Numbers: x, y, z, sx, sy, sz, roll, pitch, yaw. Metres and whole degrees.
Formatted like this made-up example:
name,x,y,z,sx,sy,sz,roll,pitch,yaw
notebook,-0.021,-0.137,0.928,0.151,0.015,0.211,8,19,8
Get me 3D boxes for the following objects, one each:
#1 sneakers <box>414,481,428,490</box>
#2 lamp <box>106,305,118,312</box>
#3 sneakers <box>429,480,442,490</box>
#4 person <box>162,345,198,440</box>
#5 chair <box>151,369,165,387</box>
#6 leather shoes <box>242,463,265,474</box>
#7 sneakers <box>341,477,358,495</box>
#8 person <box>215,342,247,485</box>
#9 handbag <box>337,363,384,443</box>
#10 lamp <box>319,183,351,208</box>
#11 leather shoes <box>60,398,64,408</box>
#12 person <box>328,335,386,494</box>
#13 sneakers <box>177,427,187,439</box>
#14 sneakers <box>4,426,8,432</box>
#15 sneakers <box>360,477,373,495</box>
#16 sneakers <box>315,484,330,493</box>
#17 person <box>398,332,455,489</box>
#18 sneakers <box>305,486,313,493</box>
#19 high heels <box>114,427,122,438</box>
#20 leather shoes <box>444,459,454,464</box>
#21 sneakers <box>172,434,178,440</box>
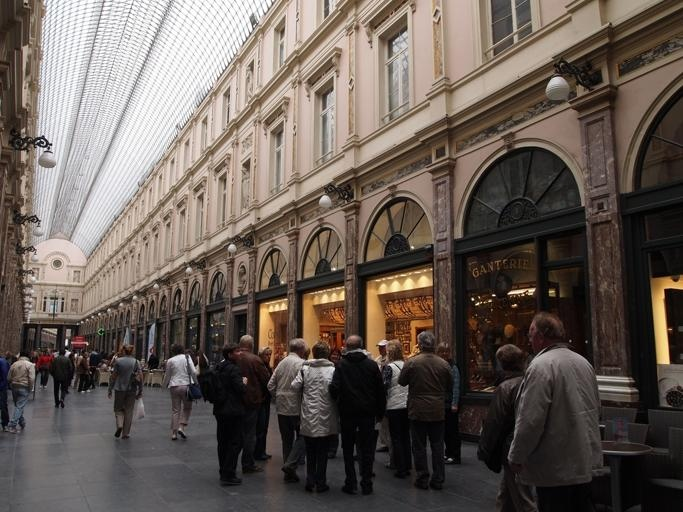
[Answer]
name,x,y,z,sx,sy,sz,roll,pitch,yaw
sneakers,1.230,3.453,8.001,0.204,0.121,0.168,-3,-13,10
lamp,-23.280,5.251,53.047,0.910,0.261,1.015,7,-11,-29
sneakers,1.474,3.455,7.982,0.222,0.117,0.161,4,-13,-20
person,-3.752,3.079,12.097,0.731,2.086,0.535,4,-12,-20
chair,-9.924,6.471,28.057,0.559,0.852,2.476,4,-14,-22
leather shoes,-1.545,3.607,8.970,0.292,0.161,0.138,-1,-6,-10
sneakers,0.120,3.413,7.843,0.120,0.242,0.326,2,-7,-19
person,-1.787,2.613,8.370,0.516,1.861,0.452,-3,-12,11
handbag,0.447,2.264,8.224,0.900,1.420,0.736,0,-19,-1
lamp,-0.382,-1.874,16.139,0.484,1.048,1.453,-7,11,-36
leather shoes,-9.548,4.970,17.837,0.110,0.307,0.121,1,5,-6
person,0.265,2.410,8.262,0.779,2.347,0.719,0,0,-1
sneakers,-3.652,4.098,12.029,0.138,0.180,0.449,-9,-37,-11
sneakers,-8.180,4.166,12.736,0.127,0.101,0.214,4,-19,-31
sneakers,0.363,3.405,7.812,0.144,0.224,0.211,3,-22,-7
sneakers,-0.287,3.467,7.951,0.216,0.166,0.079,0,0,-39
person,1.343,2.373,8.267,0.812,2.355,0.365,-2,-12,7
sneakers,-0.485,3.466,7.895,0.122,0.094,0.155,0,-13,-4
high heels,-5.067,3.957,11.852,0.134,0.204,0.266,5,-14,-25
leather shoes,1.950,3.681,9.478,0.106,0.077,0.039,-11,-7,23
sneakers,-3.754,4.023,11.742,0.075,0.100,0.219,1,-3,-7
